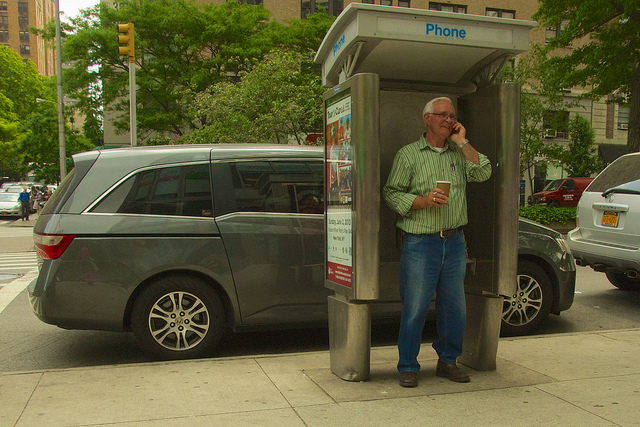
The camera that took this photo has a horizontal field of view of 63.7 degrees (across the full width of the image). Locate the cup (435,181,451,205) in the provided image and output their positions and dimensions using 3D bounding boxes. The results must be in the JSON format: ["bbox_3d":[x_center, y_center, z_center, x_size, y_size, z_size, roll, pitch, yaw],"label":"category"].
[{"bbox_3d":[1.184,-0.200,4.954,0.120,0.228,0.281,0,3,13],"label":"cup"}]

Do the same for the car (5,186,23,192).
[{"bbox_3d":[-21.804,-1.789,36.828,0.981,0.673,1.536,0,4,-18],"label":"car"}]

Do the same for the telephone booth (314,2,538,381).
[{"bbox_3d":[1.049,-0.186,5.623,2.001,3.759,1.108,-2,4,-13],"label":"telephone booth"}]

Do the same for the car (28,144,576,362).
[{"bbox_3d":[-0.269,0.418,7.085,6.205,1.980,2.678,-1,-2,-15],"label":"car"}]

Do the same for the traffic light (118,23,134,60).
[{"bbox_3d":[-5.078,-4.606,13.523,0.350,0.926,0.629,-2,4,-21],"label":"traffic light"}]

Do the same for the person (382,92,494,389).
[{"bbox_3d":[1.157,0.285,5.162,0.904,2.888,0.513,-3,4,-24],"label":"person"}]
